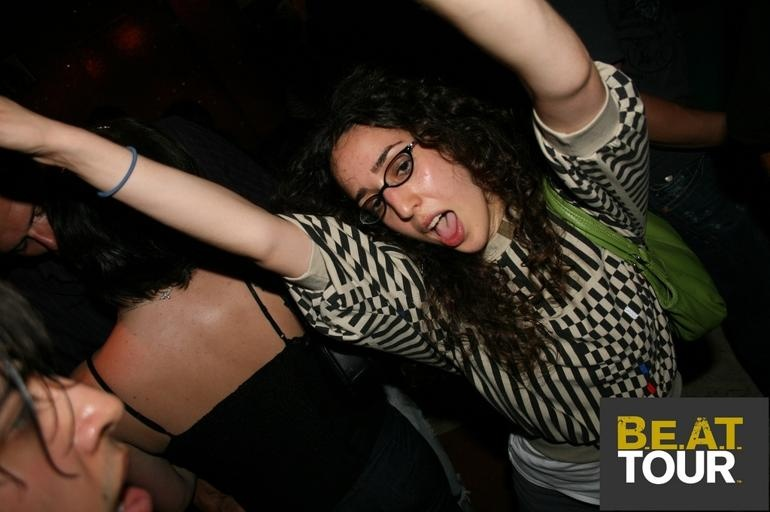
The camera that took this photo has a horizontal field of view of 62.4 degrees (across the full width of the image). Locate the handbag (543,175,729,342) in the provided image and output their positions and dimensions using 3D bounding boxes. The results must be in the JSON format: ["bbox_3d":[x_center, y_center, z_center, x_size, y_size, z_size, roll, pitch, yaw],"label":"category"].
[{"bbox_3d":[1.173,-0.003,2.829,0.271,0.849,0.637,-30,17,45],"label":"handbag"}]
